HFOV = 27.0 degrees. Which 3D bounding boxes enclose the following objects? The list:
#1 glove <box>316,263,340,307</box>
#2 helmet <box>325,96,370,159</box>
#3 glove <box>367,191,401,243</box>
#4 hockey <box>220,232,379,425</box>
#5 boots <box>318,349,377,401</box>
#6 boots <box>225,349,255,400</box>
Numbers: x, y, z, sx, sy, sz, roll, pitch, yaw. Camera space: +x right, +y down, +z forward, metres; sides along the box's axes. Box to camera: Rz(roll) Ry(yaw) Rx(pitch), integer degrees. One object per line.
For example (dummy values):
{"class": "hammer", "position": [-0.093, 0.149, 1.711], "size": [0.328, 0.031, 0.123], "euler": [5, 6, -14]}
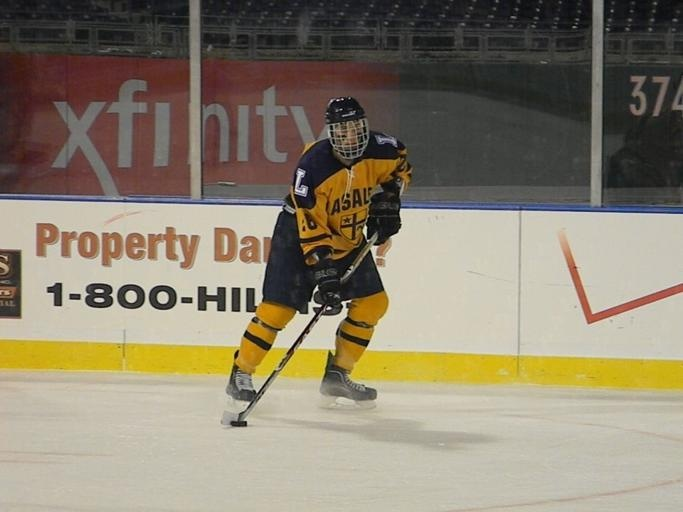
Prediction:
{"class": "glove", "position": [-0.078, 0.164, 7.984], "size": [0.142, 0.231, 0.127], "euler": [4, 5, -1]}
{"class": "helmet", "position": [0.038, -0.703, 7.991], "size": [0.261, 0.325, 0.308], "euler": [-12, -35, -3]}
{"class": "glove", "position": [0.248, -0.217, 8.283], "size": [0.197, 0.282, 0.114], "euler": [4, -5, 16]}
{"class": "hockey", "position": [-0.209, 0.449, 8.350], "size": [0.192, 1.263, 0.151], "euler": [41, 6, 24]}
{"class": "boots", "position": [0.078, 0.737, 8.395], "size": [0.436, 0.300, 0.164], "euler": [4, 3, 5]}
{"class": "boots", "position": [-0.570, 0.690, 8.169], "size": [0.133, 0.255, 0.378], "euler": [17, 7, -15]}
